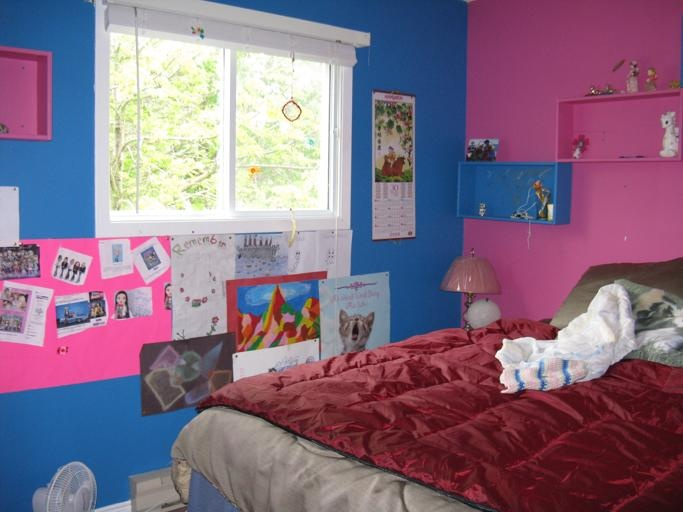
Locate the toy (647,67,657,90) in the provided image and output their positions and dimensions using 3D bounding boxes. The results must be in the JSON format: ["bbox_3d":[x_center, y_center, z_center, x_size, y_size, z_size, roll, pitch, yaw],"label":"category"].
[{"bbox_3d":[1.824,-1.029,3.031,0.056,0.156,0.186,2,7,30],"label":"toy"}]

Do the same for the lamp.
[{"bbox_3d":[0.987,0.222,3.994,0.518,0.823,0.532,-1,2,23],"label":"lamp"}]

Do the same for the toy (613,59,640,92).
[{"bbox_3d":[1.719,-1.064,3.084,0.158,0.217,0.088,16,58,39],"label":"toy"}]

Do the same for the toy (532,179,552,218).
[{"bbox_3d":[1.358,-0.376,3.533,0.099,0.266,0.097,13,34,41],"label":"toy"}]

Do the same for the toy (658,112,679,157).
[{"bbox_3d":[1.886,-0.691,2.959,0.090,0.269,0.163,2,7,33],"label":"toy"}]

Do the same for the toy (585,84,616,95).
[{"bbox_3d":[1.575,-0.990,3.165,0.181,0.080,0.106,4,10,26],"label":"toy"}]
